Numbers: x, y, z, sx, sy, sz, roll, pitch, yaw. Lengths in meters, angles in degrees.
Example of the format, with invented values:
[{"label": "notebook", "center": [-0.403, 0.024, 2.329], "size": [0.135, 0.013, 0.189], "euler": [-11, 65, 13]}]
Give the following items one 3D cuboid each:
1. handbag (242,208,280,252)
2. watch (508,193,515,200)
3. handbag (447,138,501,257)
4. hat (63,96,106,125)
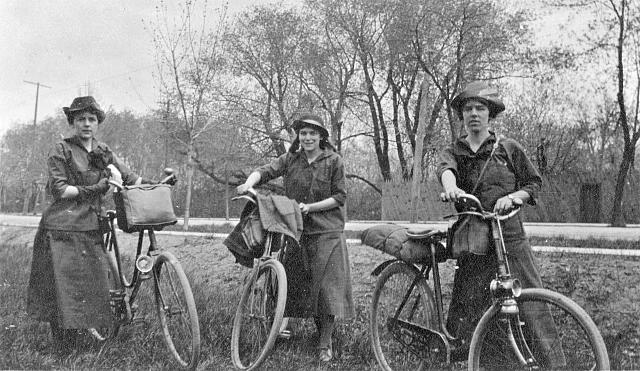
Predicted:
[{"label": "handbag", "center": [-0.851, 0.618, 8.647], "size": [0.414, 0.561, 0.332], "euler": [-27, 11, -39]}, {"label": "watch", "center": [2.505, 0.146, 7.980], "size": [0.070, 0.058, 0.078], "euler": [0, -2, 17]}, {"label": "handbag", "center": [2.065, 0.159, 8.170], "size": [0.674, 1.628, 0.479], "euler": [0, -2, 15]}, {"label": "hat", "center": [-3.567, -1.142, 9.227], "size": [0.557, 0.429, 0.337], "euler": [1, -2, -21]}]
